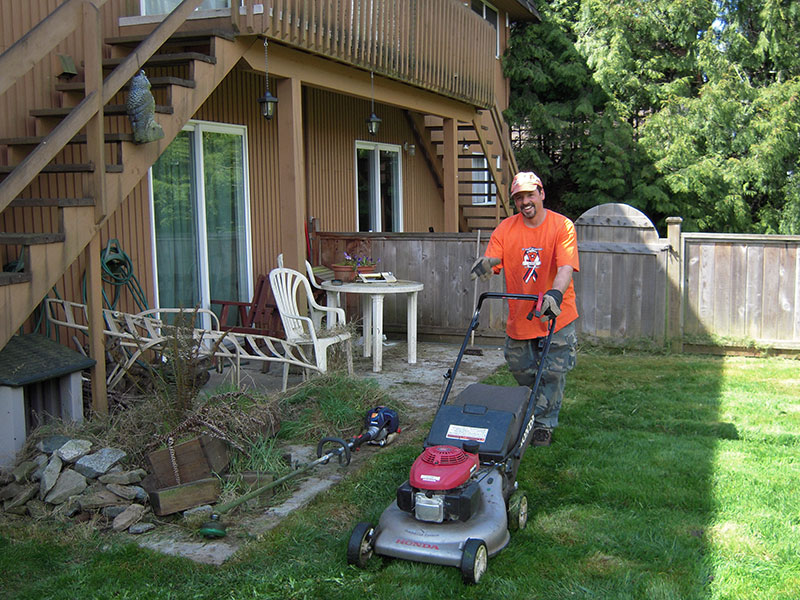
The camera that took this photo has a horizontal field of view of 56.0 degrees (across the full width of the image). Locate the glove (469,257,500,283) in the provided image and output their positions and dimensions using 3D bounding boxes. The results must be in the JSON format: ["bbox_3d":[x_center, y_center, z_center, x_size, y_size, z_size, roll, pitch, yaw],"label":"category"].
[{"bbox_3d":[0.611,-0.225,5.646,0.111,0.187,0.394,12,15,23],"label":"glove"}]

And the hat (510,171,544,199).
[{"bbox_3d":[0.933,-0.902,5.660,0.156,0.147,0.246,-11,-7,16],"label":"hat"}]

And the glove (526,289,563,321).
[{"bbox_3d":[0.988,0.041,5.155,0.166,0.131,0.226,-15,16,38],"label":"glove"}]

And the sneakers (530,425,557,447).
[{"bbox_3d":[1.138,1.113,6.112,0.127,0.129,0.292,-1,8,16],"label":"sneakers"}]
